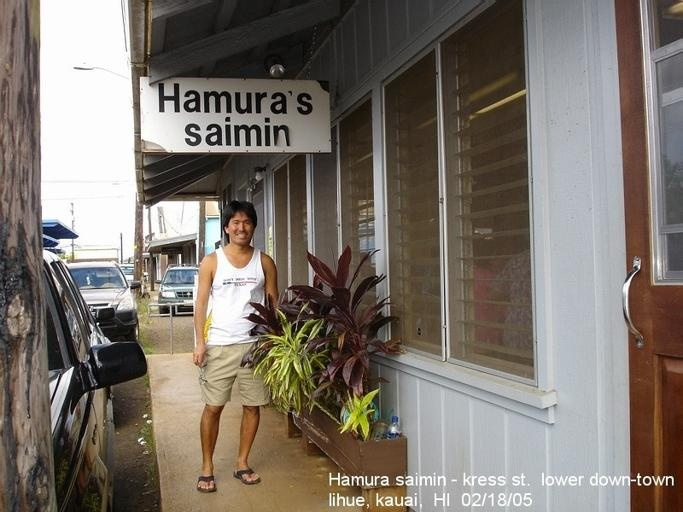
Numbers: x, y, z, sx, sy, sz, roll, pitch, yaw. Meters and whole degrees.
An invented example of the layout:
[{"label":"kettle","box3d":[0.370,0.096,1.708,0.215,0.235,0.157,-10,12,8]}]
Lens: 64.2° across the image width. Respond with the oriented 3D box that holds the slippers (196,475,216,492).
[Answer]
[{"label":"slippers","box3d":[-0.943,1.585,3.823,0.133,0.097,0.105,1,-2,-16]}]
